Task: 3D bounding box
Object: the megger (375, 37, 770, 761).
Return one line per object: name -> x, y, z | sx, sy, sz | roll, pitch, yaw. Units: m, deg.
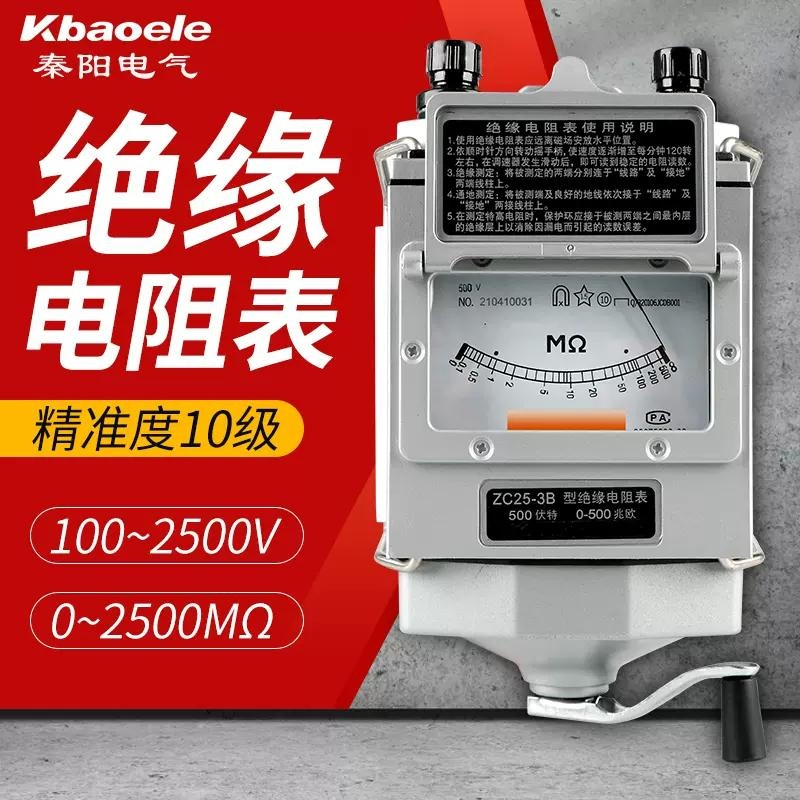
megger -> 0.186, 0.008, 0.985 | 0.426, 0.769, 0.184 | -1, 2, -2
